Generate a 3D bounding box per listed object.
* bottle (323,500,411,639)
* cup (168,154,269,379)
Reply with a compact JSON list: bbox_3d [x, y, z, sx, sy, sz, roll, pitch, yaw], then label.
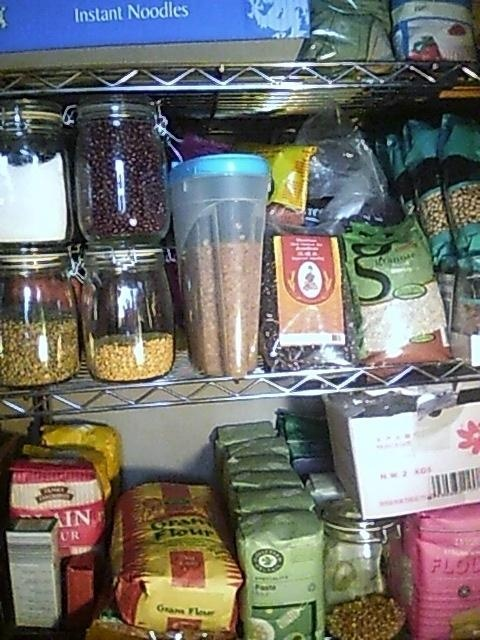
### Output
[{"bbox_3d":[0.239,0.493,1.109,0.139,0.302,0.163,-2,14,-8],"label":"bottle"},{"bbox_3d":[-0.025,-0.081,0.900,0.163,0.365,0.171,-5,1,0],"label":"cup"}]
